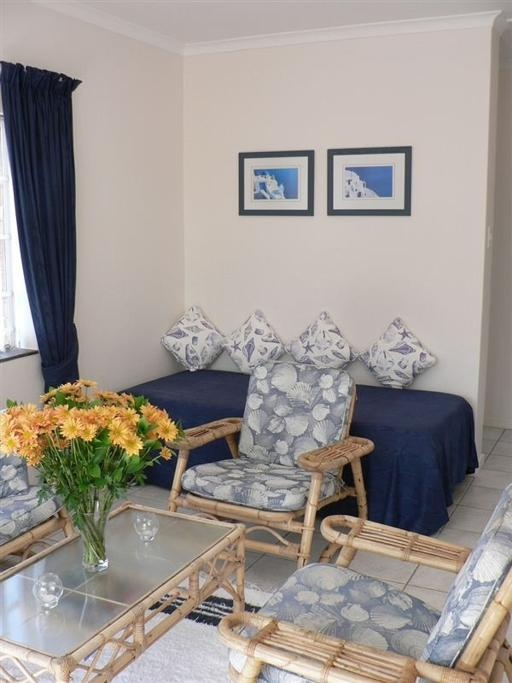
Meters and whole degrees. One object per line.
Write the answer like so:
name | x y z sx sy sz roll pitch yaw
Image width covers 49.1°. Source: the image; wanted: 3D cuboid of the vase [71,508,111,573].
vase | -0.454 0.541 1.545 0.108 0.169 0.114 -22 -22 28

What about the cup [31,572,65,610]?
cup | -0.488 0.581 1.315 0.076 0.085 0.075 1 -2 0

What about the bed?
bed | 0.231 0.488 2.977 1.442 0.348 0.929 3 10 27

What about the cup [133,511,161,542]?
cup | -0.326 0.546 1.674 0.077 0.080 0.075 -1 -4 0
